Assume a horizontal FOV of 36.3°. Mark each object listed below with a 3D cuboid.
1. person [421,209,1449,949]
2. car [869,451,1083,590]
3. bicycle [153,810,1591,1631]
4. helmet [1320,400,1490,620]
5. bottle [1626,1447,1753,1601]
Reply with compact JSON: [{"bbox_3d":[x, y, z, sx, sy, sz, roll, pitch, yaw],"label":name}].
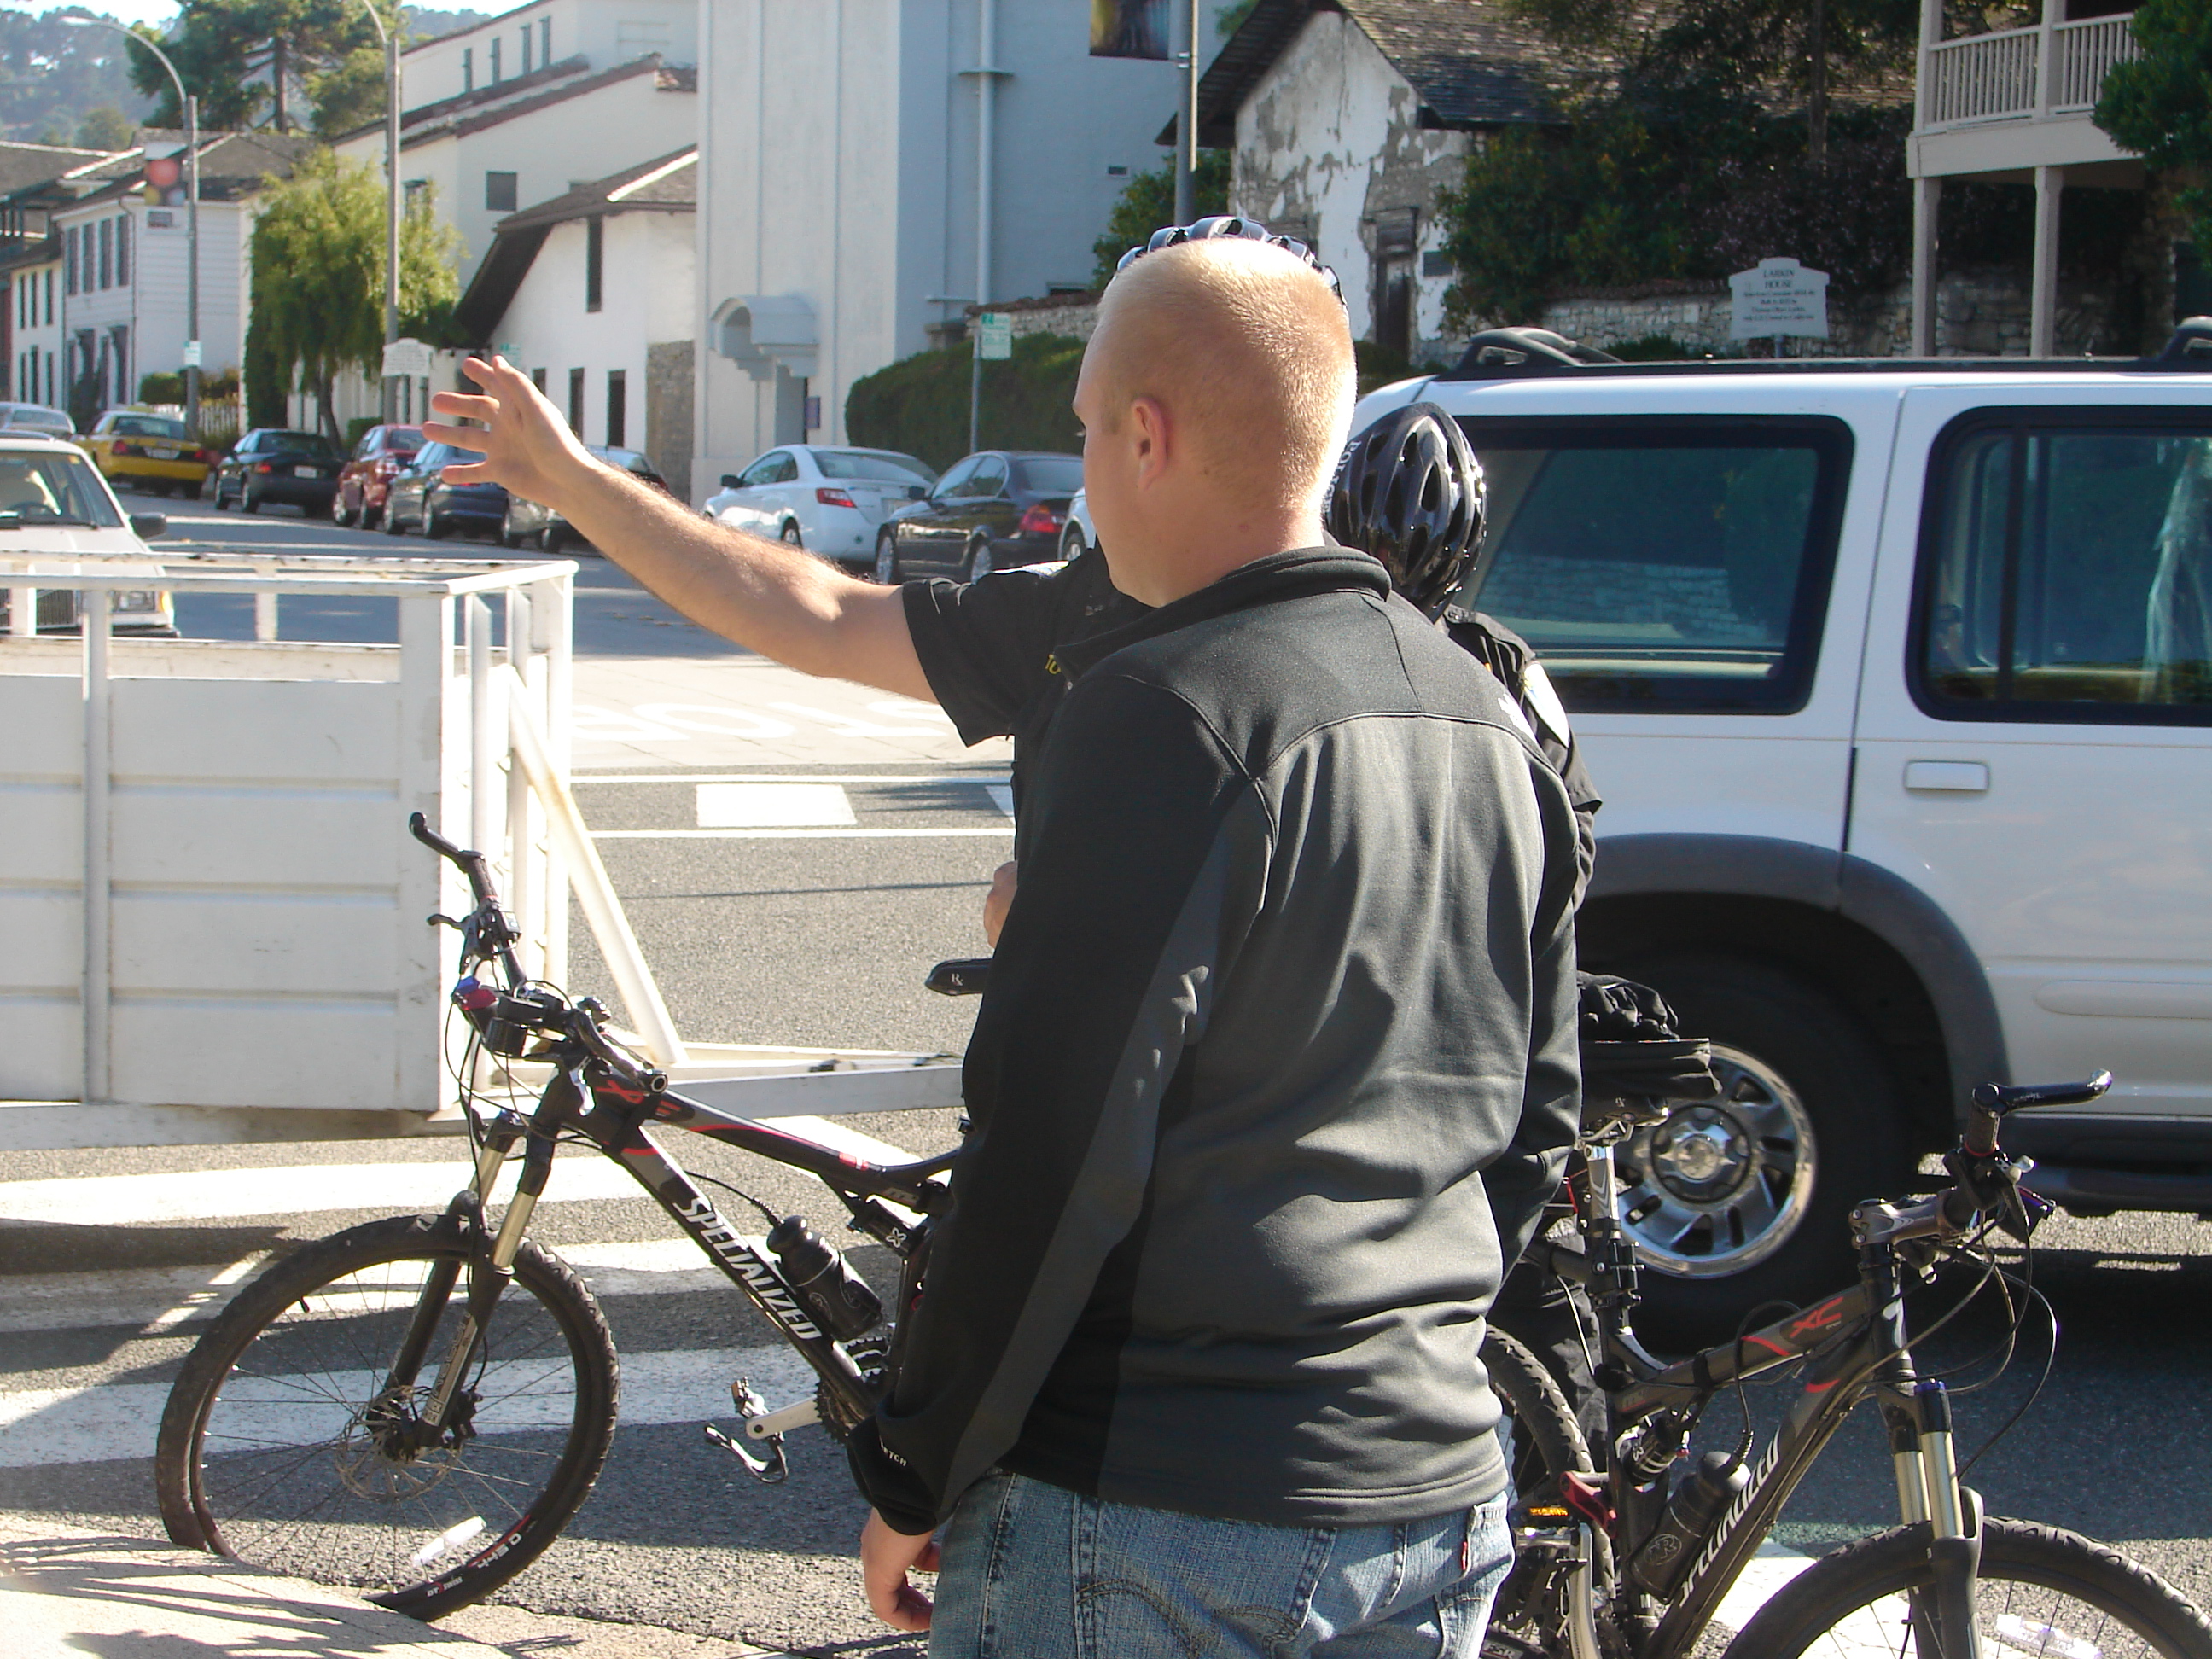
[{"bbox_3d":[-0.251,-0.162,5.405,1.977,1.367,1.050,-4,1,42],"label":"person"},{"bbox_3d":[-0.864,-2.599,28.402,1.176,0.992,2.812,-3,8,-22],"label":"car"},{"bbox_3d":[-0.682,0.885,6.669,2.227,1.452,1.128,1,16,-15],"label":"bicycle"},{"bbox_3d":[0.529,-0.582,6.007,0.267,0.358,0.371,5,4,2],"label":"helmet"},{"bbox_3d":[0.992,1.193,5.799,0.151,0.255,0.137,32,4,40],"label":"bottle"}]
